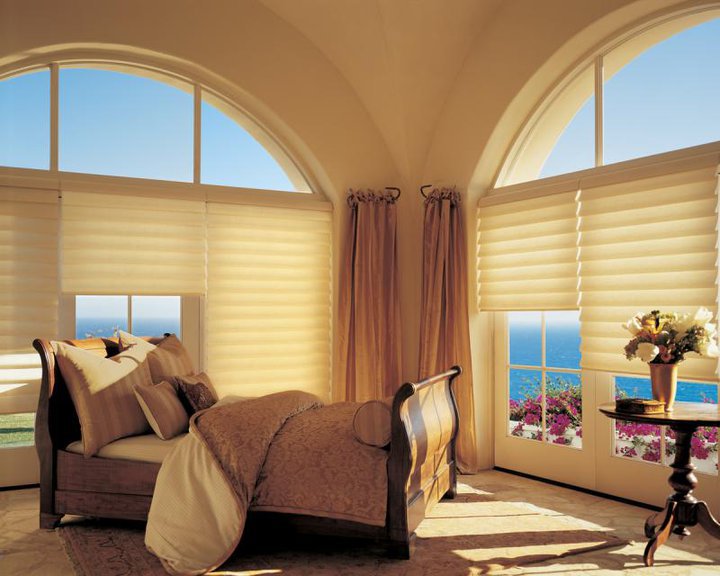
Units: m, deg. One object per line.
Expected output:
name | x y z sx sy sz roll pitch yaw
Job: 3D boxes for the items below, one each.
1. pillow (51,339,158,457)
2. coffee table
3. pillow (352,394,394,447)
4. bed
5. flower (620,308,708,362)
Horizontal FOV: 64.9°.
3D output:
pillow | -1.671 0.698 3.681 0.222 0.637 0.724 -26 -11 28
coffee table | 1.991 1.132 3.621 0.946 0.815 0.909 0 -1 6
pillow | 0.068 0.793 3.347 0.226 0.258 0.236 0 0 2
bed | -0.778 0.964 3.655 2.102 0.862 1.521 -1 0 10
flower | 1.918 0.299 3.577 0.453 0.247 0.426 -4 -8 24
